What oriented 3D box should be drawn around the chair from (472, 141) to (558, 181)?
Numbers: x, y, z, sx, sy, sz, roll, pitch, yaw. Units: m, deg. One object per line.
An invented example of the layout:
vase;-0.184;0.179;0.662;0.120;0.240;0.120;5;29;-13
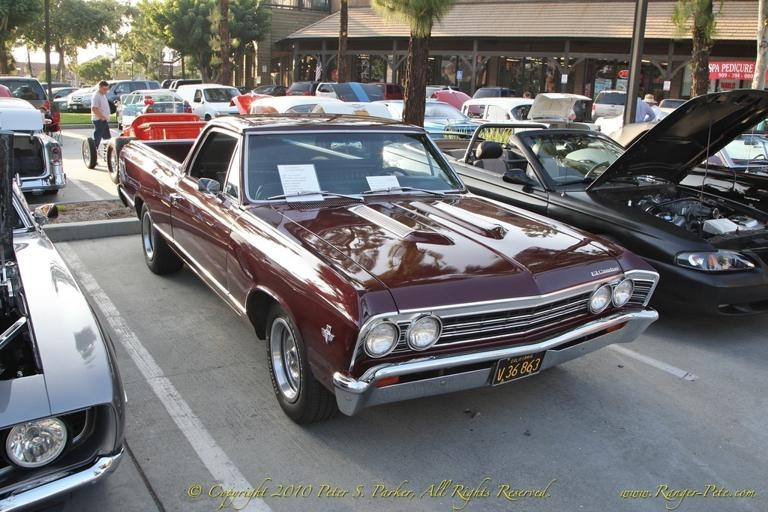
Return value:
chair;1.857;-1.471;6.624;0.698;0.470;1.096;-18;41;-33
